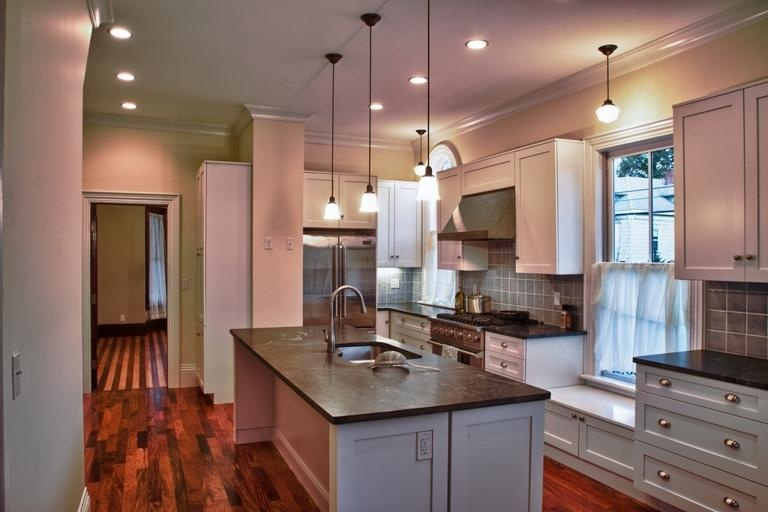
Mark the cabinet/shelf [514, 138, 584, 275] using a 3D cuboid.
[{"bbox_3d":[1.585,-0.462,5.330,0.659,1.243,0.417,0,6,17],"label":"cabinet/shelf"}]

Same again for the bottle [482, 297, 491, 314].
[{"bbox_3d":[1.170,0.561,6.337,0.179,0.165,0.108,2,6,21],"label":"bottle"}]

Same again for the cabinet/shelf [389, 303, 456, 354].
[{"bbox_3d":[0.485,0.771,7.002,0.470,0.731,0.792,2,-2,-23],"label":"cabinet/shelf"}]

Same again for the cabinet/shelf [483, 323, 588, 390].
[{"bbox_3d":[1.416,0.880,5.412,0.617,0.506,0.825,1,1,-22],"label":"cabinet/shelf"}]

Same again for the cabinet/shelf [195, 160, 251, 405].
[{"bbox_3d":[-1.788,0.299,6.326,0.660,2.718,0.244,-3,6,-13],"label":"cabinet/shelf"}]

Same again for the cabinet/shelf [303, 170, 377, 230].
[{"bbox_3d":[-0.565,-0.660,6.677,0.772,0.565,0.293,2,-5,-24],"label":"cabinet/shelf"}]

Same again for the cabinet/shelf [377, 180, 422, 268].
[{"bbox_3d":[0.174,-0.409,7.428,0.719,1.186,0.225,-6,7,-35],"label":"cabinet/shelf"}]

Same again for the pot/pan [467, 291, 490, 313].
[{"bbox_3d":[1.092,0.544,6.411,0.197,0.195,0.277,-2,2,-38],"label":"pot/pan"}]

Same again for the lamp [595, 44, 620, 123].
[{"bbox_3d":[1.960,-1.469,4.831,0.193,0.655,0.679,0,5,22],"label":"lamp"}]

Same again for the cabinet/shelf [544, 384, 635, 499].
[{"bbox_3d":[1.813,1.512,4.658,0.570,0.481,0.992,1,2,-26],"label":"cabinet/shelf"}]
